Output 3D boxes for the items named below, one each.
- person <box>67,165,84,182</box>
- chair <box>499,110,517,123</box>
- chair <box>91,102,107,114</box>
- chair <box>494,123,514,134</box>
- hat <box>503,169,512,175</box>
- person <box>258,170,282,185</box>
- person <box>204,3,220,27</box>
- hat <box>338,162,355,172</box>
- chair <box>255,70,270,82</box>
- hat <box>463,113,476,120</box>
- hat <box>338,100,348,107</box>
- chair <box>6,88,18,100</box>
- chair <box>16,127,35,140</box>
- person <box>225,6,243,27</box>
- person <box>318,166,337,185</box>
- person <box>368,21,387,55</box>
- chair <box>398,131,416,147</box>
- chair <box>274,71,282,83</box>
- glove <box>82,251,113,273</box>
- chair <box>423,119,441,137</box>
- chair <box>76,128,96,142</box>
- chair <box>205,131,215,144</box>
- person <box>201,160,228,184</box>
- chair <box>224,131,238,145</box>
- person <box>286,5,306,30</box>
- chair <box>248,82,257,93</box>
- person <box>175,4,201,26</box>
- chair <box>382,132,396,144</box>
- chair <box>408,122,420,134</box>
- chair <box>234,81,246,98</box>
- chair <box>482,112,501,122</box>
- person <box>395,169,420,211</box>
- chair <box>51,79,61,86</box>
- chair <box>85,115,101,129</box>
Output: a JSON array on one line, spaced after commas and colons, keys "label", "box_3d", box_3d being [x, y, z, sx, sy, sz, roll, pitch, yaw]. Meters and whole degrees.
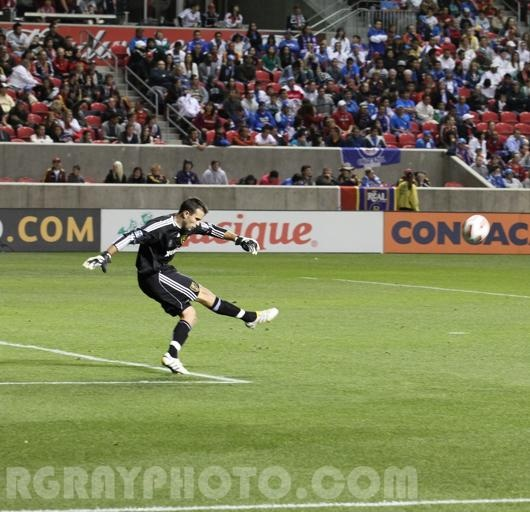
[{"label": "person", "box_3d": [-4.468, -1.944, 30.576, 0.410, 0.482, 1.485, -1, 10, -8]}, {"label": "chair", "box_3d": [6.718, -3.824, 35.792, 0.433, 0.290, 0.297, 1, 6, 24]}, {"label": "chair", "box_3d": [-4.153, -3.673, 32.198, 0.302, 0.269, 0.357, 5, -25, -12]}, {"label": "chair", "box_3d": [6.494, -3.422, 35.313, 0.356, 0.351, 0.422, 1, -2, -1]}, {"label": "hat", "box_3d": [6.307, -2.172, 33.604, 0.224, 0.170, 0.376, 2, 10, 9]}, {"label": "person", "box_3d": [0.099, -1.924, 31.765, 0.499, 0.362, 1.111, 1, 10, 0]}, {"label": "person", "box_3d": [-1.640, -7.240, 39.247, 0.474, 0.671, 0.887, 0, 11, -3]}, {"label": "hat", "box_3d": [1.974, -2.190, 31.631, 0.361, 0.127, 0.365, 0, -1, 7]}, {"label": "chair", "box_3d": [-0.077, -4.855, 35.187, 0.345, 0.360, 0.356, -1, 6, -16]}, {"label": "hat", "box_3d": [5.476, -3.730, 34.984, 0.333, 0.086, 0.225, 0, 27, 28]}, {"label": "hat", "box_3d": [2.016, -3.963, 33.857, 0.264, 0.174, 0.169, -4, 5, -1]}, {"label": "chair", "box_3d": [-6.089, -3.863, 31.136, 0.247, 0.306, 0.222, -4, 12, -23]}, {"label": "chair", "box_3d": [-5.786, -2.915, 31.119, 0.320, 0.382, 0.334, -2, 25, -19]}, {"label": "person", "box_3d": [-0.988, -7.268, 39.617, 0.545, 0.659, 0.956, 0, 10, -2]}, {"label": "person", "box_3d": [1.505, -1.912, 31.628, 0.479, 0.395, 0.741, 0, 10, -4]}, {"label": "person", "box_3d": [3.288, -6.368, 37.809, 0.563, 0.916, 0.875, 2, 11, 4]}, {"label": "chair", "box_3d": [3.748, -3.088, 34.399, 0.424, 0.469, 0.437, 1, -1, -7]}, {"label": "chair", "box_3d": [0.327, -4.867, 35.229, 0.305, 0.338, 0.313, 2, 6, 0]}, {"label": "glove", "box_3d": [-2.580, 0.107, 19.873, 0.424, 0.182, 0.508, 21, 15, 20]}, {"label": "chair", "box_3d": [4.482, -3.461, 35.138, 0.444, 0.481, 0.448, 0, 4, -13]}, {"label": "chair", "box_3d": [-4.371, -2.922, 31.550, 0.375, 0.344, 0.667, -1, 10, -7]}, {"label": "chair", "box_3d": [-1.394, -2.997, 32.970, 0.208, 0.352, 0.443, 0, 11, -3]}, {"label": "person", "box_3d": [-1.275, -2.054, 31.759, 0.787, 0.663, 0.434, 0, 4, -30]}, {"label": "chair", "box_3d": [-0.849, -3.005, 33.030, 0.407, 0.402, 0.399, 0, -4, -6]}, {"label": "person", "box_3d": [0.945, -7.071, 38.748, 0.541, 0.722, 0.839, 1, 11, 0]}, {"label": "chair", "box_3d": [-0.368, -4.369, 33.684, 0.273, 0.112, 0.336, 3, 29, -1]}, {"label": "person", "box_3d": [-2.272, -7.215, 39.068, 0.719, 0.686, 0.959, 0, 10, -4]}, {"label": "chair", "box_3d": [3.301, -3.112, 34.312, 0.332, 0.370, 0.347, 0, 0, -22]}, {"label": "chair", "box_3d": [3.994, -3.455, 34.990, 0.318, 0.339, 0.373, -5, 5, -38]}, {"label": "chair", "box_3d": [-0.648, -4.331, 33.879, 0.460, 0.471, 0.452, 1, 3, -3]}, {"label": "chair", "box_3d": [6.203, -3.830, 35.801, 0.368, 0.419, 0.387, 1, 1, -4]}, {"label": "person", "box_3d": [3.353, -1.553, 30.729, 0.541, 0.958, 0.410, 5, 12, 19]}, {"label": "chair", "box_3d": [-5.215, -4.324, 32.367, 0.193, 0.221, 0.188, 7, 39, -7]}, {"label": "chair", "box_3d": [-4.257, -3.322, 32.085, 0.282, 0.305, 0.332, 4, 33, -6]}]
